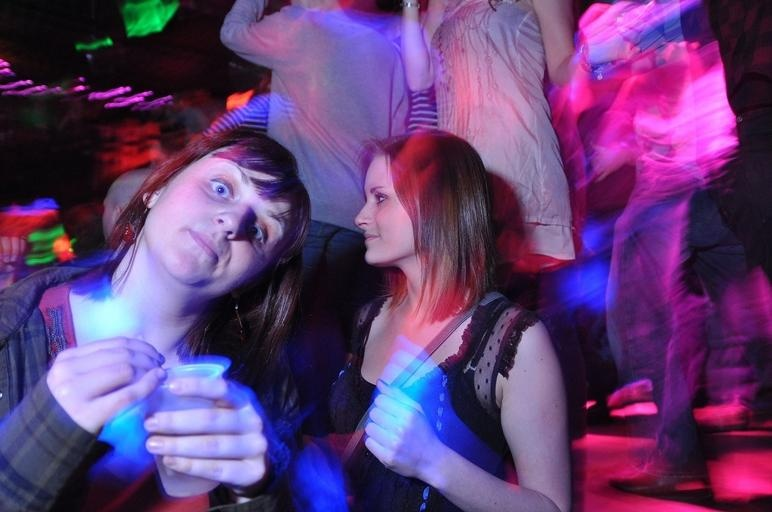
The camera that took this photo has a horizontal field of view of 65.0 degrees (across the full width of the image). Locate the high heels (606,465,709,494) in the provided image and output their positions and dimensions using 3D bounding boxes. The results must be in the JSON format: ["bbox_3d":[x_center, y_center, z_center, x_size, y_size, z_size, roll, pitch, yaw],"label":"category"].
[{"bbox_3d":[1.366,1.140,3.035,0.465,0.095,0.094,0,13,12],"label":"high heels"}]
